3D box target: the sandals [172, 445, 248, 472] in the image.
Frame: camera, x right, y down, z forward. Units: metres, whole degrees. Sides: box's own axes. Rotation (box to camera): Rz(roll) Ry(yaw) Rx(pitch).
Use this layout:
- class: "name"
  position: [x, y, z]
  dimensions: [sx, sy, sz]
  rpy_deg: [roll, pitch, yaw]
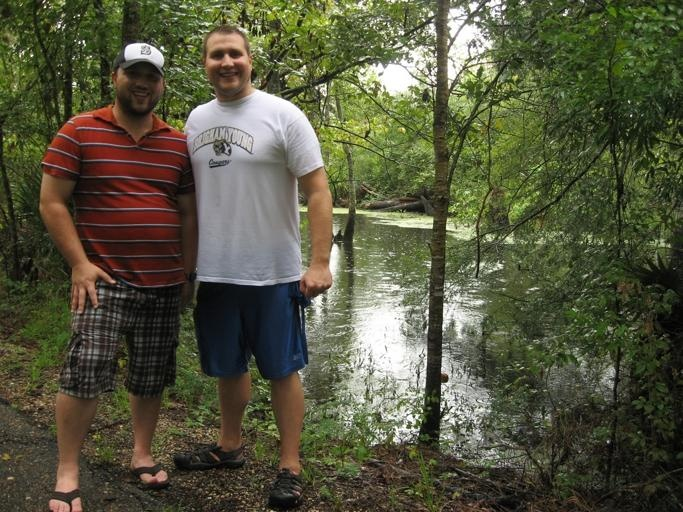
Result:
- class: "sandals"
  position: [-0.892, 1.365, 4.024]
  dimensions: [0.457, 0.185, 0.184]
  rpy_deg: [5, -9, -7]

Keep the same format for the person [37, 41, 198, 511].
- class: "person"
  position: [-1.355, 0.084, 3.604]
  dimensions: [0.940, 2.644, 0.294]
  rpy_deg: [3, 0, -28]

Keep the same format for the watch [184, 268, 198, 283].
- class: "watch"
  position: [-0.991, 0.130, 3.844]
  dimensions: [0.088, 0.052, 0.066]
  rpy_deg: [14, 16, 38]

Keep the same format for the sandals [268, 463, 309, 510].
- class: "sandals"
  position: [-0.346, 1.452, 3.694]
  dimensions: [0.223, 0.245, 0.213]
  rpy_deg: [4, 0, -5]

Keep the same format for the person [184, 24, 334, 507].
- class: "person"
  position: [-0.549, 0.056, 3.694]
  dimensions: [0.977, 2.885, 0.230]
  rpy_deg: [4, 0, 4]
